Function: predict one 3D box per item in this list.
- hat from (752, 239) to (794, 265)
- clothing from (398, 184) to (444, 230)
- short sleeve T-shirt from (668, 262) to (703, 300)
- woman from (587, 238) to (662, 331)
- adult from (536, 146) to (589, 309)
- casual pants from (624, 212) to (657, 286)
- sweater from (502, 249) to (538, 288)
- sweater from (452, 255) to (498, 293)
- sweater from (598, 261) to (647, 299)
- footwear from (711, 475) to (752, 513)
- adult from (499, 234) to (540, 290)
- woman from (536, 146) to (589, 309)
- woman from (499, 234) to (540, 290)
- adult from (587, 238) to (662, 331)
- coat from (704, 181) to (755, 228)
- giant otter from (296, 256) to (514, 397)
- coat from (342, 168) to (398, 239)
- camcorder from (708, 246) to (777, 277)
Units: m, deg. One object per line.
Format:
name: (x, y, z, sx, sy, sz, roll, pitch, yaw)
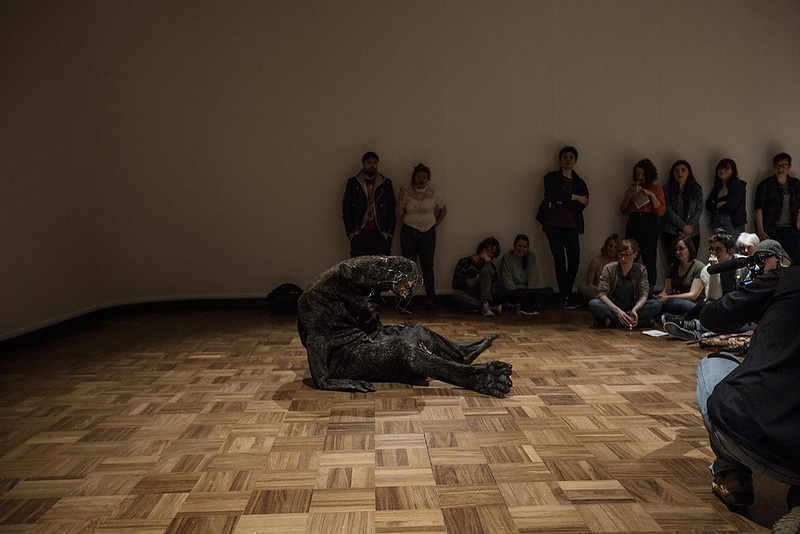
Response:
hat: (2.067, -0.107, 2.727, 0.196, 0.105, 0.139, 21, -1, 1)
clothing: (0.312, -0.823, 7.118, 0.658, 0.587, 0.281, -1, 13, -4)
short sleeve T-shirt: (3.286, 0.124, 5.770, 0.236, 0.390, 0.400, -4, 7, -32)
woman: (2.560, 0.196, 5.696, 0.723, 0.975, 0.683, -10, 13, -36)
adult: (2.366, -0.622, 7.224, 0.633, 2.168, 0.625, 12, 19, 43)
casual pants: (3.496, -0.204, 7.194, 0.427, 0.988, 0.299, 0, -6, 7)
sweater: (1.683, 0.078, 6.946, 0.449, 0.621, 0.364, -2, -19, 6)
sweater: (1.033, 0.076, 6.970, 0.624, 0.586, 0.450, 4, -10, -16)
sweater: (2.591, 0.154, 5.808, 0.545, 0.459, 0.310, 5, 15, 17)
footwear: (1.763, 1.162, 2.640, 0.106, 0.116, 0.249, -1, 7, 5)
adult: (1.657, -0.014, 6.953, 0.574, 0.774, 0.575, -6, 6, -36)
woman: (2.366, -0.622, 7.224, 0.633, 2.168, 0.625, 12, 19, 43)
woman: (1.675, -0.024, 6.944, 0.584, 0.781, 0.584, 1, 6, 37)
adult: (2.537, 0.199, 5.689, 0.711, 0.952, 0.704, -9, 12, -20)
coat: (4.900, -0.814, 7.399, 0.400, 1.176, 0.382, 8, -18, 22)
giant otter: (0.066, 0.422, 4.117, 1.607, 0.951, 0.949, -1, 8, 6)
coat: (-0.439, -0.854, 7.029, 0.737, 0.834, 0.394, -1, 13, -3)
camcorder: (1.817, -0.027, 2.644, 0.299, 0.067, 0.189, -13, 0, -4)
